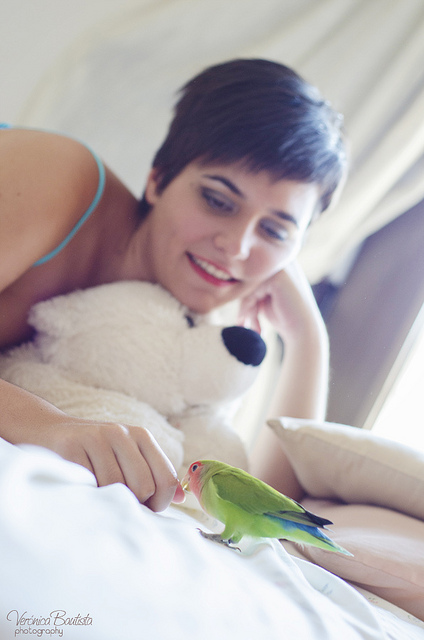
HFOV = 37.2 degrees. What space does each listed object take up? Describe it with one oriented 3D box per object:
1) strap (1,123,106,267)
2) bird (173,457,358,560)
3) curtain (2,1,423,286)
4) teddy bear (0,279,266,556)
[{"bbox_3d":[-0.219,-0.183,0.844,0.110,0.134,0.196,-15,49,-34],"label":"strap"},{"bbox_3d":[0.055,0.192,0.648,0.199,0.059,0.079,5,65,17],"label":"bird"},{"bbox_3d":[0.006,-0.322,0.955,0.484,0.389,0.135,3,5,4],"label":"curtain"},{"bbox_3d":[-0.089,0.071,0.791,0.346,0.165,0.181,23,40,7],"label":"teddy bear"}]
